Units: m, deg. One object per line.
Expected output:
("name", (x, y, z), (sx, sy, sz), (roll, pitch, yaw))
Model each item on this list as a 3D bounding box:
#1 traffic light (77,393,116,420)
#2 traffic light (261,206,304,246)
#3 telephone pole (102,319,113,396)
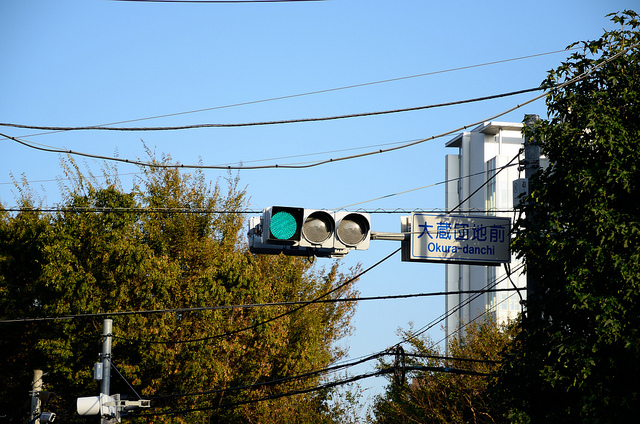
("traffic light", (-9.579, 8.249, 53.987), (1.584, 1.162, 0.451), (-2, -18, -10))
("traffic light", (-1.388, 0.557, 46.038), (1.328, 1.411, 1.302), (8, -14, -19))
("telephone pole", (-9.340, 6.321, 55.033), (0.448, 3.284, 1.054), (-2, -18, -10))
